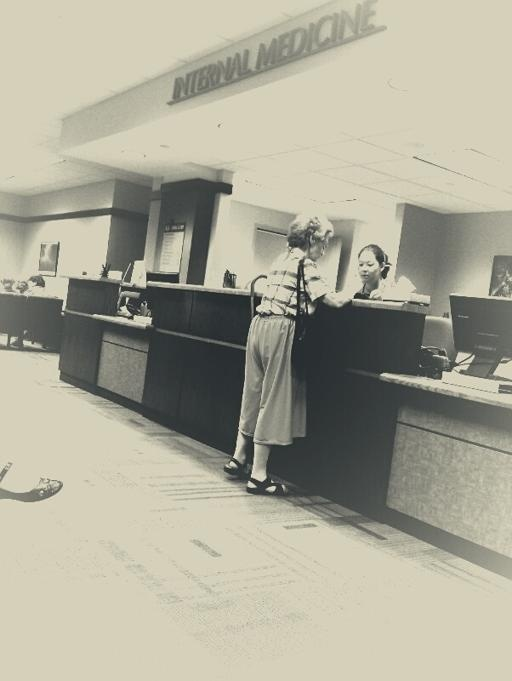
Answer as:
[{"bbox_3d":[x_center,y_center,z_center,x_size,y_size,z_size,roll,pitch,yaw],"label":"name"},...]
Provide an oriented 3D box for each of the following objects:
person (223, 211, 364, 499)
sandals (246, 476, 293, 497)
[{"bbox_3d":[0.183,0.079,3.004,0.655,1.585,0.331,7,1,17],"label":"person"},{"bbox_3d":[0.062,0.840,3.022,0.198,0.087,0.108,1,0,-14],"label":"sandals"}]
